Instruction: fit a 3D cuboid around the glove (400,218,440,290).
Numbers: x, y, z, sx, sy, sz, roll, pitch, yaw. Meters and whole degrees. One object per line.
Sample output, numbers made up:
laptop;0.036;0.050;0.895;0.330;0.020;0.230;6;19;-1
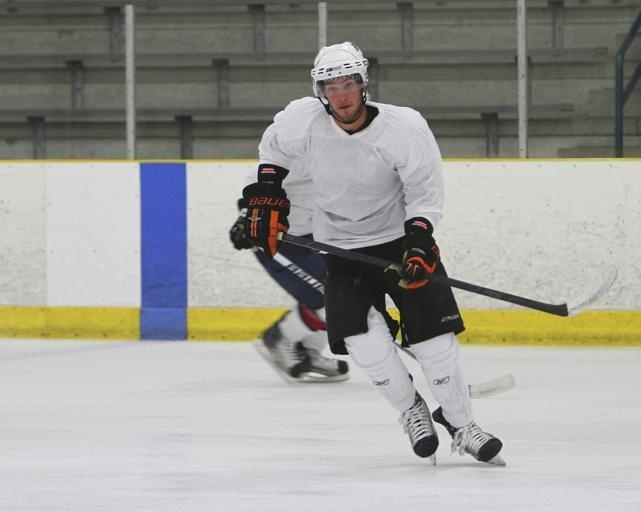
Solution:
glove;0.415;-0.012;5.616;0.162;0.291;0.160;0;5;1

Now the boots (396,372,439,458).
boots;0.403;0.704;5.729;0.128;0.391;0.163;-34;-50;19

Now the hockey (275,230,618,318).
hockey;0.665;0.092;6.602;1.164;0.154;0.155;16;-26;12

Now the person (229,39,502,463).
person;0.117;0.050;5.731;1.038;1.812;0.808;-9;-1;7

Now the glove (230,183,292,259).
glove;-0.240;-0.164;5.950;0.322;0.299;0.132;4;1;43

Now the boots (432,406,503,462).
boots;0.620;0.774;5.670;0.359;0.207;0.227;2;5;21
